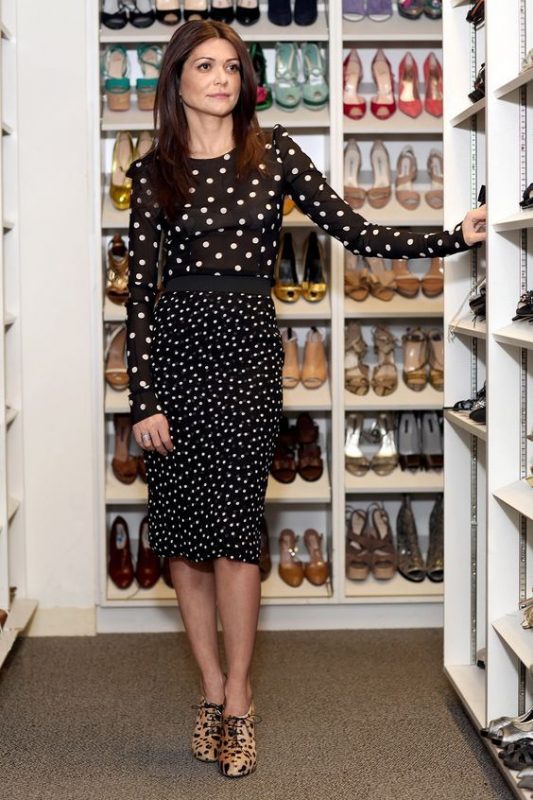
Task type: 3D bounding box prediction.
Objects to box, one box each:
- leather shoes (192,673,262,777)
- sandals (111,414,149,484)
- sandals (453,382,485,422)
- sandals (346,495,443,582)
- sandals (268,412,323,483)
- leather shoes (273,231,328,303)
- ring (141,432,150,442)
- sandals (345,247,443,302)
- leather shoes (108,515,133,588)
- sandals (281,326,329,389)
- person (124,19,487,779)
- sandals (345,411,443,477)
[{"bbox_3d":[-0.086,0.714,1.509,0.095,0.065,0.167,-1,21,2],"label":"leather shoes"},{"bbox_3d":[-0.529,0.181,2.560,0.115,0.140,0.350,-8,31,-13],"label":"sandals"},{"bbox_3d":[0.491,0.017,1.630,0.044,0.055,0.130,0,5,-16],"label":"sandals"},{"bbox_3d":[0.477,0.547,2.604,0.264,0.113,0.379,-3,44,5],"label":"sandals"},{"bbox_3d":[0.124,0.179,2.627,0.114,0.077,0.302,-6,32,7],"label":"sandals"},{"bbox_3d":[0.128,-0.482,2.559,0.190,0.128,0.361,-1,57,7],"label":"leather shoes"},{"bbox_3d":[-0.251,0.080,1.440,0.014,0.021,0.008,5,25,17],"label":"ring"},{"bbox_3d":[0.469,-0.440,2.545,0.192,0.065,0.276,-6,34,-7],"label":"sandals"},{"bbox_3d":[-0.536,0.558,2.552,0.078,0.090,0.246,-1,49,-10],"label":"leather shoes"},{"bbox_3d":[0.147,-0.140,2.578,0.138,0.093,0.259,-2,44,8],"label":"sandals"},{"bbox_3d":[-0.008,-0.003,1.464,0.598,1.587,0.236,-1,-3,15],"label":"person"},{"bbox_3d":[0.510,0.165,2.626,0.233,0.066,0.326,-3,42,6],"label":"sandals"}]
